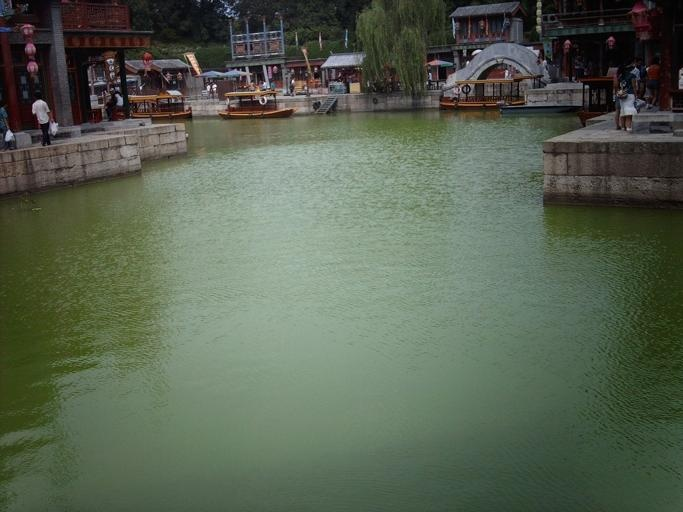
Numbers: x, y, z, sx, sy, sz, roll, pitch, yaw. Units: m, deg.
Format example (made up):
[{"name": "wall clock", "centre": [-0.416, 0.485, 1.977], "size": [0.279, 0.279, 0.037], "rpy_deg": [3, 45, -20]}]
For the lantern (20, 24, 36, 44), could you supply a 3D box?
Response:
[{"name": "lantern", "centre": [-9.147, -6.523, 17.323], "size": [0.259, 0.628, 1.024], "rpy_deg": [-8, 13, -23]}]

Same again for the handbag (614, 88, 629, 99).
[{"name": "handbag", "centre": [6.162, -3.568, 13.087], "size": [0.175, 0.079, 0.185], "rpy_deg": [-16, 36, 15]}]

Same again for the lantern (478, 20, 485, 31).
[{"name": "lantern", "centre": [11.004, -18.028, 46.487], "size": [0.411, 0.767, 0.623], "rpy_deg": [-5, 11, -10]}]

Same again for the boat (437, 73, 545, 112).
[{"name": "boat", "centre": [8.966, -10.028, 37.430], "size": [7.748, 2.232, 2.333], "rpy_deg": [2, 24, 19]}]

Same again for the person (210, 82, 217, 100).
[{"name": "person", "centre": [-11.879, -15.450, 55.513], "size": [0.515, 1.441, 3.081], "rpy_deg": [-6, 12, -10]}]

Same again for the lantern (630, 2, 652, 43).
[{"name": "lantern", "centre": [8.360, -6.625, 16.537], "size": [0.578, 1.071, 1.253], "rpy_deg": [2, 13, 27]}]

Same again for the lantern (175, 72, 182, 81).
[{"name": "lantern", "centre": [-15.935, -17.665, 58.455], "size": [0.620, 0.779, 0.612], "rpy_deg": [-5, -16, -5]}]

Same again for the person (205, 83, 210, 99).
[{"name": "person", "centre": [-12.246, -15.129, 54.604], "size": [0.497, 1.121, 1.077], "rpy_deg": [-6, 12, -12]}]

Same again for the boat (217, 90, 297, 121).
[{"name": "boat", "centre": [-6.611, -11.253, 44.207], "size": [4.474, 2.325, 6.100], "rpy_deg": [-8, 13, -23]}]

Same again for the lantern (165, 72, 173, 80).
[{"name": "lantern", "centre": [-16.583, -17.212, 56.951], "size": [0.666, 0.611, 0.671], "rpy_deg": [2, 2, 35]}]

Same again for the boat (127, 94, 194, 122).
[{"name": "boat", "centre": [-13.721, -11.310, 45.208], "size": [4.317, 2.212, 6.676], "rpy_deg": [-6, 12, -13]}]
